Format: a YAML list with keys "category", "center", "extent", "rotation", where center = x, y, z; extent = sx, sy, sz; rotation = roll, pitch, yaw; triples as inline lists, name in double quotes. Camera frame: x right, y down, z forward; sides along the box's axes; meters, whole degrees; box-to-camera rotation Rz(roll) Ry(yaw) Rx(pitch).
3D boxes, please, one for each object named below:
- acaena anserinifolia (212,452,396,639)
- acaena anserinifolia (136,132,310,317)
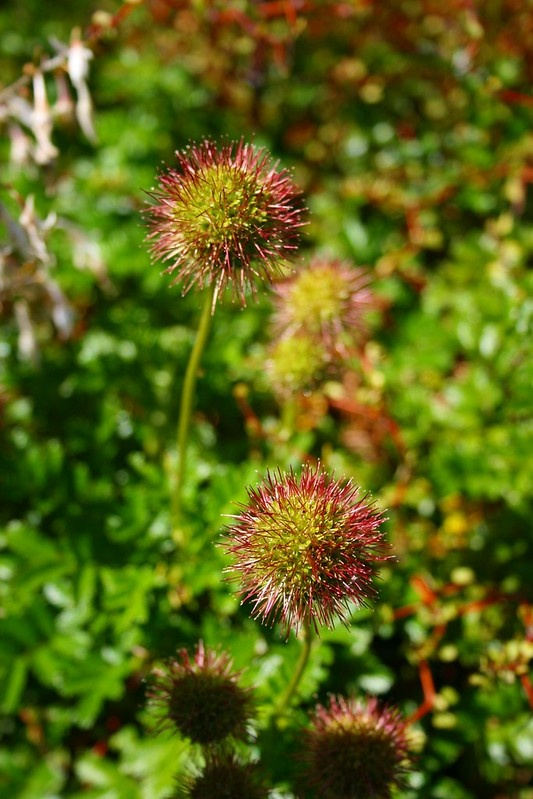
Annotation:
- category: "acaena anserinifolia"
  center: [0.078, 0.290, 1.538]
  extent: [0.309, 0.253, 0.273]
  rotation: [-2, 74, 8]
- category: "acaena anserinifolia"
  center: [-0.090, -0.338, 1.605]
  extent: [0.328, 0.293, 0.334]
  rotation: [-2, 90, -33]
